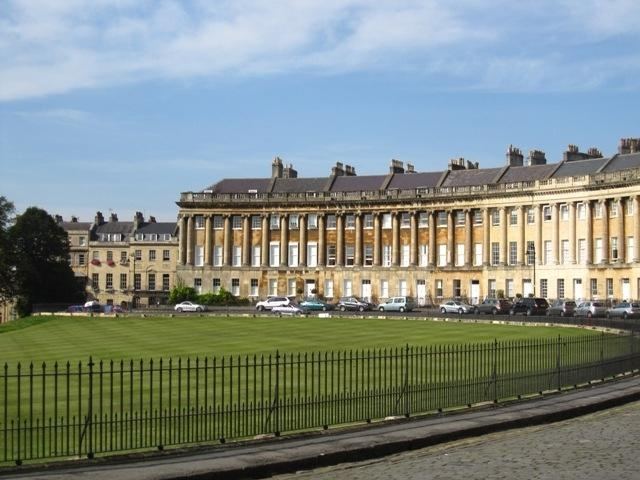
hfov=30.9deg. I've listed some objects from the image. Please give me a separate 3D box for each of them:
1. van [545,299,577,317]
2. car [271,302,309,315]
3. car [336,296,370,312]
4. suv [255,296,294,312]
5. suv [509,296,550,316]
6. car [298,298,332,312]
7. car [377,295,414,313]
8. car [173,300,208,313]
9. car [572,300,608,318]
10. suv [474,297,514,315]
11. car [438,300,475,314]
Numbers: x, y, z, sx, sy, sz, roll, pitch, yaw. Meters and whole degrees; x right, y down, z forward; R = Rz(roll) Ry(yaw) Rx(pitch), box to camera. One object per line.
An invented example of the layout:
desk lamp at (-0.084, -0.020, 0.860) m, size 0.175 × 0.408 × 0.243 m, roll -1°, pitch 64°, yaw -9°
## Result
van at (18.570, 5.151, 87.838) m, size 1.177 × 0.827 × 1.817 m, roll 0°, pitch 2°, yaw -17°
car at (-2.535, 5.565, 93.926) m, size 2.512 × 0.694 × 1.130 m, roll -3°, pitch -2°, yaw 15°
car at (2.887, 5.670, 101.700) m, size 2.319 × 0.885 × 1.194 m, roll -2°, pitch -3°, yaw 17°
suv at (-4.282, 5.628, 102.539) m, size 2.733 × 1.079 × 1.519 m, roll 1°, pitch -1°, yaw 1°
suv at (16.031, 4.987, 88.707) m, size 1.384 × 0.933 × 2.414 m, roll 1°, pitch 1°, yaw -41°
car at (-0.443, 5.613, 100.915) m, size 2.443 × 0.736 × 1.105 m, roll 0°, pitch 1°, yaw 9°
car at (6.604, 5.458, 99.200) m, size 2.362 × 0.913 × 1.363 m, roll 2°, pitch -1°, yaw 32°
car at (-11.745, 5.786, 101.932) m, size 2.488 × 0.730 × 1.093 m, roll -3°, pitch -4°, yaw 18°
car at (20.100, 4.996, 85.190) m, size 1.284 × 0.837 × 1.982 m, roll 0°, pitch 3°, yaw -17°
suv at (14.060, 5.287, 92.704) m, size 1.301 × 0.948 × 2.757 m, roll 3°, pitch -1°, yaw -37°
car at (10.964, 5.404, 93.887) m, size 2.291 × 0.697 × 1.196 m, roll -4°, pitch -4°, yaw 37°
